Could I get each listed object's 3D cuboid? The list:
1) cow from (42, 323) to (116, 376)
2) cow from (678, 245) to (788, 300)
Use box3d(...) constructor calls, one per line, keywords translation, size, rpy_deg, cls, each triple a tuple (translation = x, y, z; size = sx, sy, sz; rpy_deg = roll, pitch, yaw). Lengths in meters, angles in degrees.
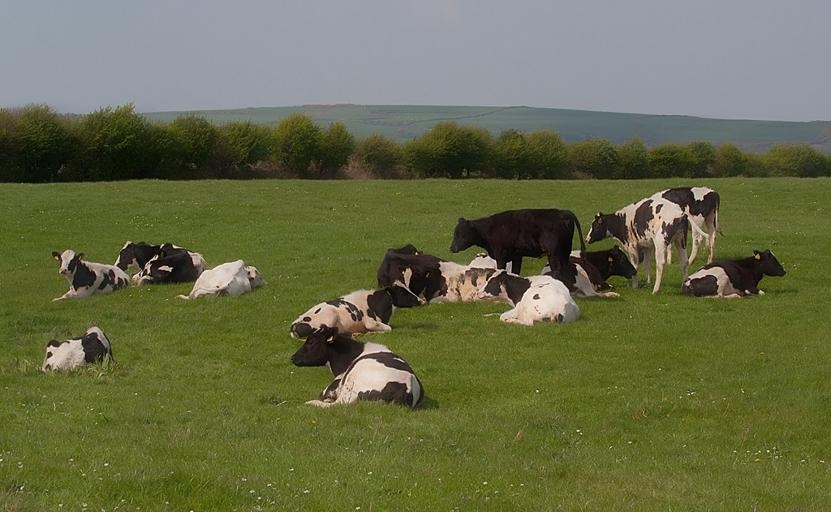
box3d(translation=(-11.574, 3.258, 41.580), size=(2.265, 1.636, 1.757), rpy_deg=(2, 5, 15), cls="cow")
box3d(translation=(12.370, 0.607, 48.234), size=(4.633, 1.981, 1.710), rpy_deg=(-4, 7, -9), cls="cow")
